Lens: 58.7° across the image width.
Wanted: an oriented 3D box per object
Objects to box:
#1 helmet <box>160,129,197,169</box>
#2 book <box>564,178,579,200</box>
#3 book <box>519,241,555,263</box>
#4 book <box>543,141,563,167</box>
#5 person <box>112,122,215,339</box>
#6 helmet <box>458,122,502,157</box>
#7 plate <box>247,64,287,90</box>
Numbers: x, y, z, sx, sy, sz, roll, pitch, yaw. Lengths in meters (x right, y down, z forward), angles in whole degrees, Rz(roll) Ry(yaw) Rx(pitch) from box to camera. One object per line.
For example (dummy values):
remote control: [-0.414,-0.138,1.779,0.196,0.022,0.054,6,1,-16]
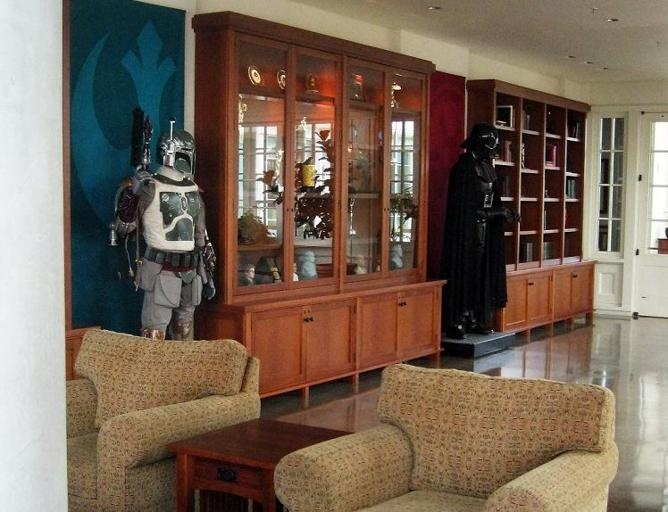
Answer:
helmet: [-1.085,-0.758,4.235,0.298,0.274,0.222,3,5,27]
book: [3.615,-1.040,9.180,0.206,0.362,0.381,0,0,33]
book: [2.795,-0.062,8.378,0.522,0.304,0.533,-2,6,-43]
book: [3.166,-1.483,8.710,0.249,0.407,0.432,0,5,-1]
person: [-1.238,-0.135,4.315,0.341,1.551,0.734,3,5,36]
helmet: [1.616,-1.287,6.638,0.424,0.333,0.310,-1,5,44]
plate: [-0.564,-1.492,4.945,0.017,0.175,0.416,4,6,43]
